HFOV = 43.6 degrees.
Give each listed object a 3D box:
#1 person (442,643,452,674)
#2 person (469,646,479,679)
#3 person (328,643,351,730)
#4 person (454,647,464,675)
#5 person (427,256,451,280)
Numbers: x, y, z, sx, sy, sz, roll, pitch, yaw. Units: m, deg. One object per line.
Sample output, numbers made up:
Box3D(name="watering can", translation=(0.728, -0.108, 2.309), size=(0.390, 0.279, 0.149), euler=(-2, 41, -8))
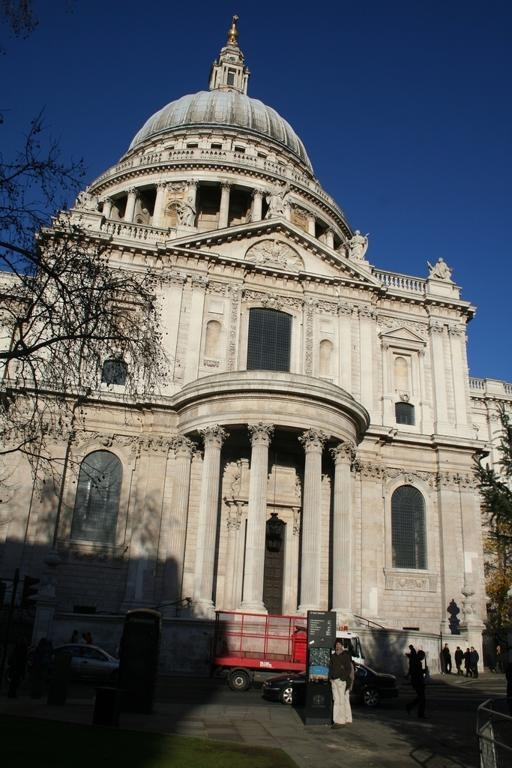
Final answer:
Box3D(name="person", translation=(9.237, 13.340, 31.086), size=(0.413, 1.214, 0.717), euler=(-3, -20, 16))
Box3D(name="person", translation=(10.256, 13.079, 30.206), size=(0.296, 1.263, 1.214), euler=(-2, -20, 16))
Box3D(name="person", translation=(1.831, 6.481, 13.928), size=(0.474, 1.706, 1.015), euler=(1, -19, 8))
Box3D(name="person", translation=(9.889, 13.432, 31.201), size=(0.473, 1.181, 1.341), euler=(-2, -20, 16))
Box3D(name="person", translation=(12.442, -7.771, 43.388), size=(1.606, 1.861, 0.529), euler=(11, -21, -21))
